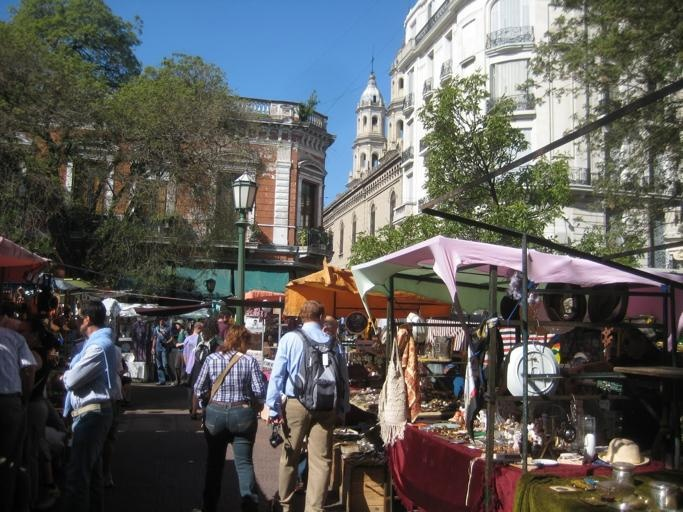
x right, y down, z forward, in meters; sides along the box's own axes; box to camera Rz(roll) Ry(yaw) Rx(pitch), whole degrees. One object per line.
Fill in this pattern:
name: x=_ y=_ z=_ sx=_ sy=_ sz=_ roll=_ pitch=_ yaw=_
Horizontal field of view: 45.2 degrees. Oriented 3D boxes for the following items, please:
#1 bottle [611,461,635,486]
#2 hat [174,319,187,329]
bottle: x=3.244 y=2.491 z=9.517 sx=0.201 sy=0.271 sz=0.222 roll=1 pitch=3 yaw=0
hat: x=-5.704 y=2.382 z=29.101 sx=0.446 sy=0.153 sz=0.482 roll=21 pitch=-2 yaw=12
